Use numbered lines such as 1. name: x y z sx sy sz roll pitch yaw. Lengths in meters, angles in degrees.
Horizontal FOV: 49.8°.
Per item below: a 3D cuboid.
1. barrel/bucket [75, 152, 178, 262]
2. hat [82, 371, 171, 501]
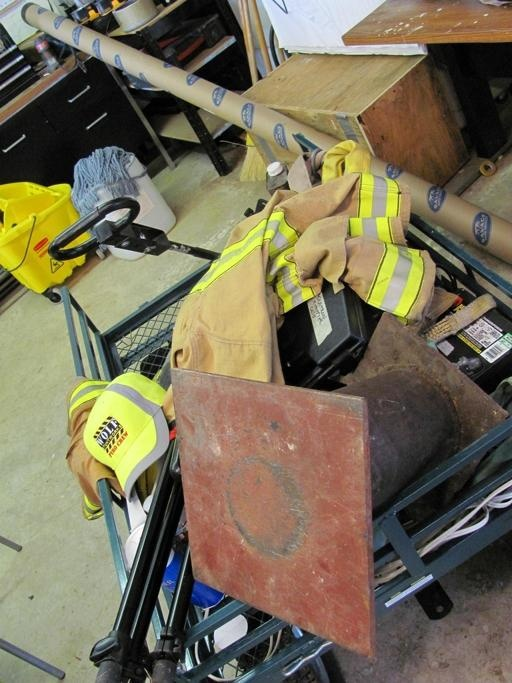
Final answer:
1. barrel/bucket: -0.766 -0.822 3.224 0.520 0.615 0.354 -31 33 -11
2. hat: -0.291 0.213 1.359 0.189 0.158 0.295 -51 30 18
